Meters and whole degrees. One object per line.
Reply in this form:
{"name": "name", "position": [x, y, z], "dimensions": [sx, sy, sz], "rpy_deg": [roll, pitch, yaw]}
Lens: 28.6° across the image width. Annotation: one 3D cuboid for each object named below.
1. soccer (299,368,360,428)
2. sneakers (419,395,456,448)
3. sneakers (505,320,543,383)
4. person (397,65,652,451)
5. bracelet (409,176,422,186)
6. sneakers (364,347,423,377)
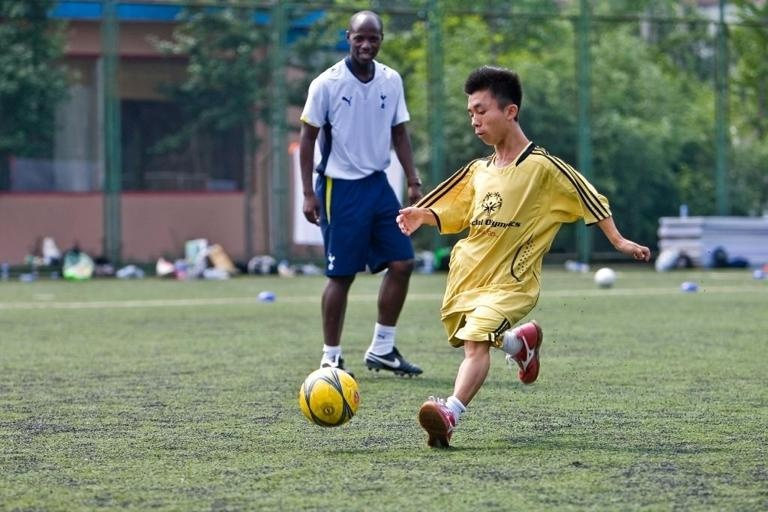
{"name": "soccer", "position": [-0.352, 0.919, 9.749], "dimensions": [0.450, 0.401, 0.436], "rpy_deg": [-7, -10, -16]}
{"name": "sneakers", "position": [0.327, 1.035, 9.386], "dimensions": [0.228, 0.287, 0.203], "rpy_deg": [0, 10, 2]}
{"name": "sneakers", "position": [0.971, 0.622, 10.251], "dimensions": [0.236, 0.452, 0.174], "rpy_deg": [-19, 29, -23]}
{"name": "person", "position": [0.759, -0.032, 9.640], "dimensions": [1.274, 2.306, 0.860], "rpy_deg": [-2, 10, -11]}
{"name": "bracelet", "position": [0.220, -0.537, 10.983], "dimensions": [0.121, 0.046, 0.127], "rpy_deg": [-1, -6, -4]}
{"name": "sneakers", "position": [0.075, 0.779, 10.982], "dimensions": [0.532, 0.232, 0.164], "rpy_deg": [6, -7, 6]}
